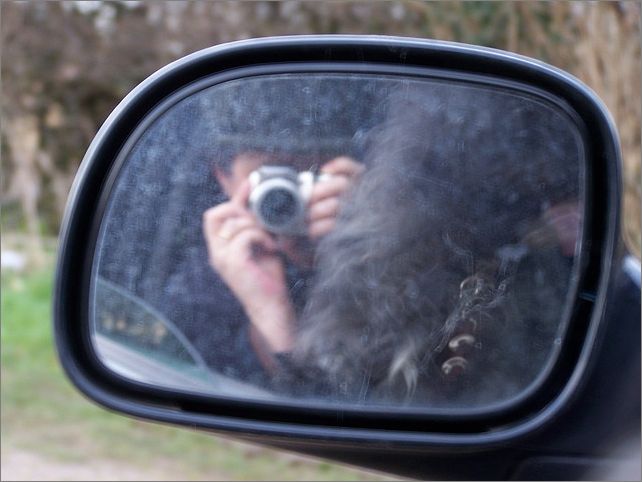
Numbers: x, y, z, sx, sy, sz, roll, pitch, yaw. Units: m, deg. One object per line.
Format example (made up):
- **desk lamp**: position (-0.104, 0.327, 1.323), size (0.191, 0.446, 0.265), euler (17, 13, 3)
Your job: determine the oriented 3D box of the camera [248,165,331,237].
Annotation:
- **camera**: position (-0.108, -0.165, 3.193), size (0.238, 0.183, 0.190), euler (-19, 99, -4)
